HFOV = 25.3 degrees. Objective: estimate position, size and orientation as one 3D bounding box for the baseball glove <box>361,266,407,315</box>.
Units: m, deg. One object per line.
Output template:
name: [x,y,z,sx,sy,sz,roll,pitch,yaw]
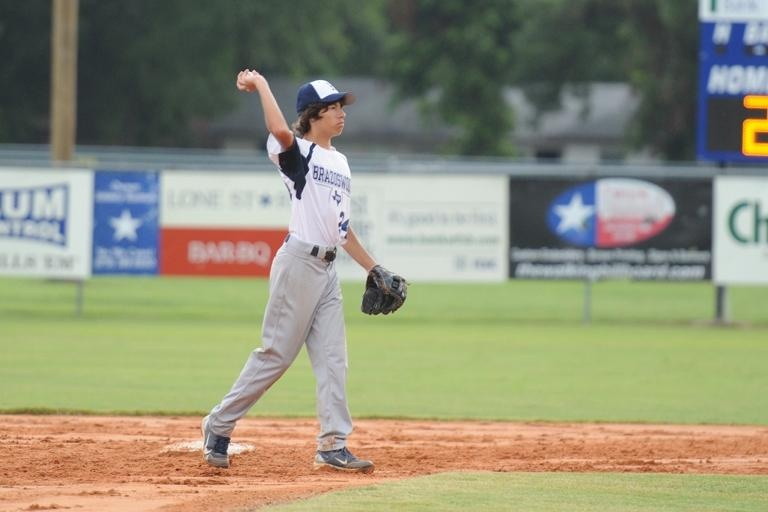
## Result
baseball glove: [0.004,0.517,23.080,0.556,0.675,0.310,11,-34,6]
